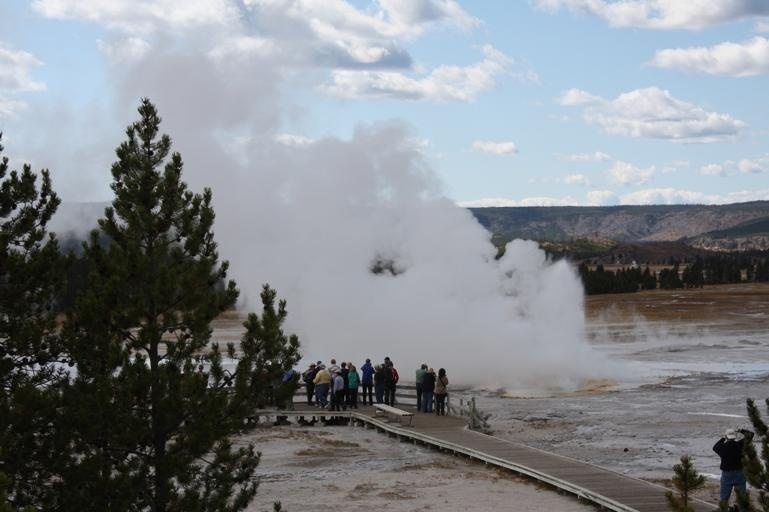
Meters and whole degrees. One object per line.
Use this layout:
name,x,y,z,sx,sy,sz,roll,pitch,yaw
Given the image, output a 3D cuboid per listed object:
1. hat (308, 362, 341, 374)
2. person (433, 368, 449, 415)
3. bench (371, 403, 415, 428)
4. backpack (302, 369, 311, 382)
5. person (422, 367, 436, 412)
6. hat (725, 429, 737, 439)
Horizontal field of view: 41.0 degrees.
hat,-2.257,3.953,36.684,1.226,0.592,0.452,-3,-13,19
person,1.912,4.483,34.704,0.488,1.283,2.027,7,3,4
bench,0.425,5.204,34.184,0.938,0.483,2.399,6,2,-17
backpack,-2.761,4.250,36.862,0.338,0.452,0.187,4,-8,11
person,1.517,4.507,35.067,0.543,1.620,0.498,5,21,6
hat,7.945,4.066,23.644,0.197,0.229,0.256,2,2,12
